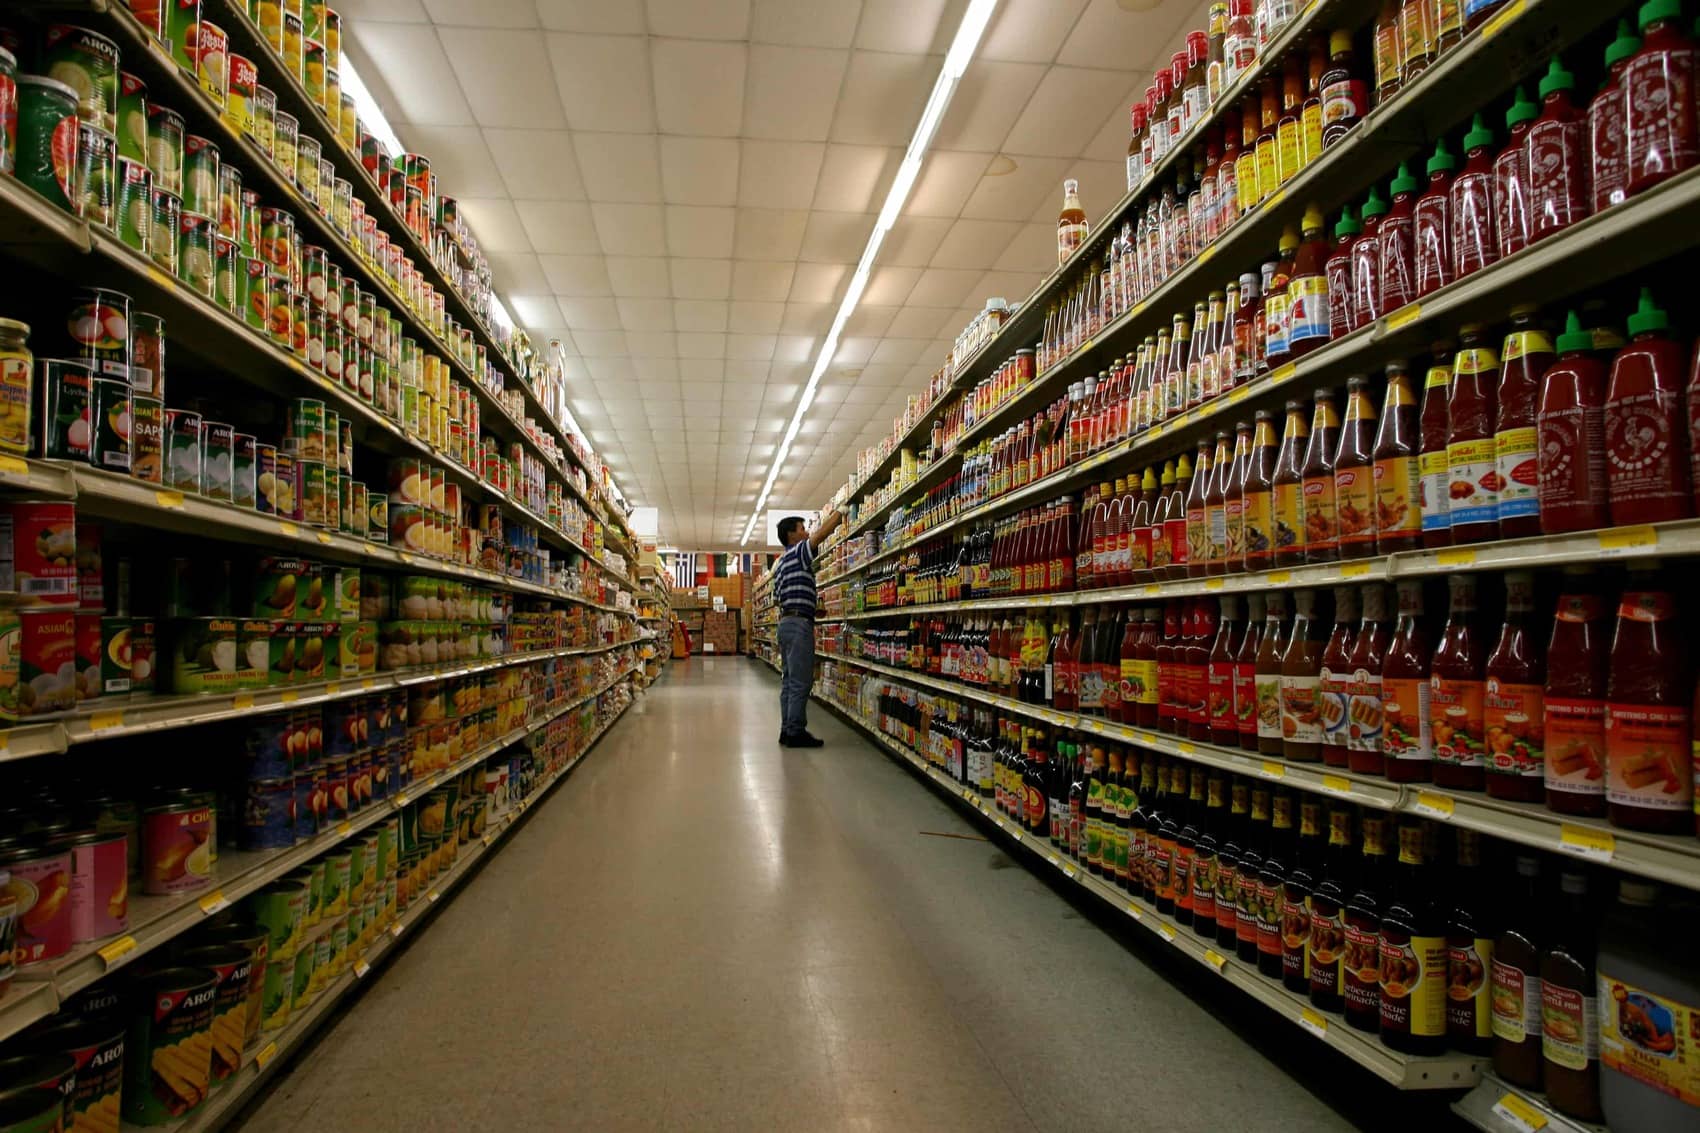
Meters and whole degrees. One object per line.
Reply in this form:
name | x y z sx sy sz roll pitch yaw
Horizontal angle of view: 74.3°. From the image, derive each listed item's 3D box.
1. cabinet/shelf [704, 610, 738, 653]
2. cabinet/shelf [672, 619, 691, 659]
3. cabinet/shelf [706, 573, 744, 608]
cabinet/shelf | -3.355 1.726 29.148 1.008 1.046 0.472 1 -9 -15
cabinet/shelf | -4.067 1.783 27.201 0.452 0.955 0.980 -1 -2 -5
cabinet/shelf | -3.146 0.688 29.636 1.289 1.250 0.701 1 -10 -3
